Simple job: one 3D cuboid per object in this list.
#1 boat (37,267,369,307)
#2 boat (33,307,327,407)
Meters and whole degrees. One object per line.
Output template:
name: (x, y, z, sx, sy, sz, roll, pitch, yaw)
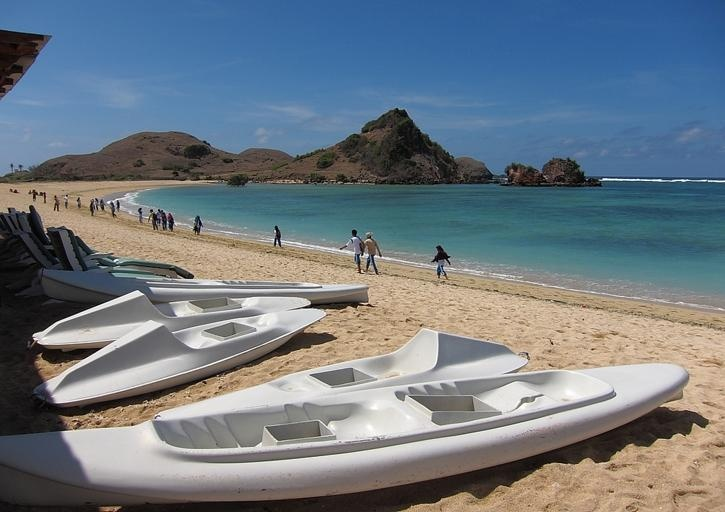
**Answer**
boat: (-3.153, 0.593, 9.536, 5.655, 0.495, 0.953, 0, 14, -18)
boat: (-2.243, 1.340, 7.172, 3.988, 0.611, 1.029, -10, 24, -27)
